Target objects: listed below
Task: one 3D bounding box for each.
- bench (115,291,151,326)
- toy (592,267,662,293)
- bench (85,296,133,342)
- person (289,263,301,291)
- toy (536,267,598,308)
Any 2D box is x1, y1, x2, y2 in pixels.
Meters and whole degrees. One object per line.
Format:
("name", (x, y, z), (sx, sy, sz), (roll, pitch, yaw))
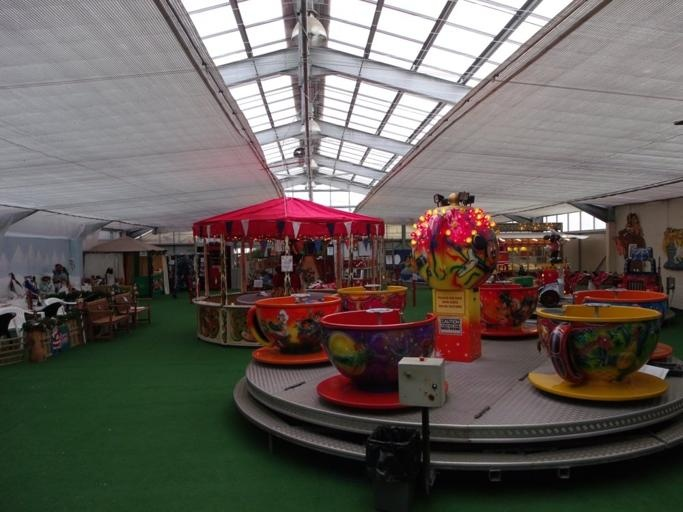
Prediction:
("bench", (-5.592, 1.426, 11.417), (0.365, 0.538, 0.843), (-2, 1, -1))
("toy", (7.285, 0.633, 10.818), (0.802, 0.604, 1.235), (-1, -5, 0))
("bench", (-5.253, 1.385, 9.572), (0.725, 0.874, 1.562), (-4, 2, -19))
("person", (-1.016, 0.457, 9.387), (0.230, 0.437, 0.929), (-3, 2, -6))
("toy", (5.548, 0.759, 10.672), (1.405, 0.645, 0.801), (-4, 5, -24))
